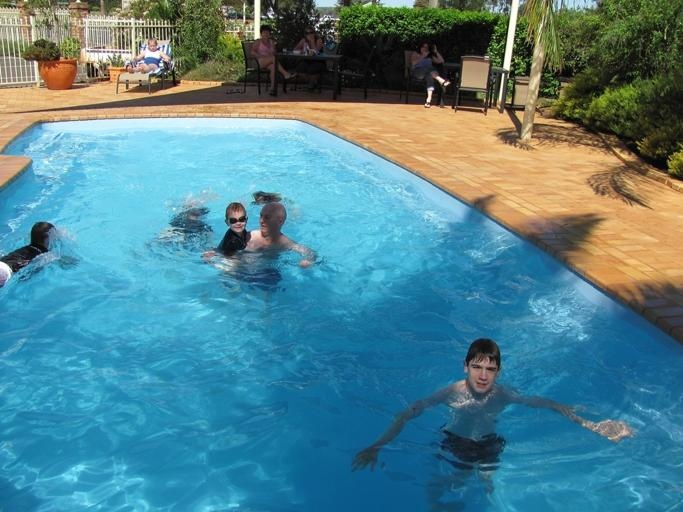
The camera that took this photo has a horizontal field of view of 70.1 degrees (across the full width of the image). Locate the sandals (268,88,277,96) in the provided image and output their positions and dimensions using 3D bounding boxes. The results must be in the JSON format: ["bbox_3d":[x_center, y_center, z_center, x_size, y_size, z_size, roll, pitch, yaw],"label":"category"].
[{"bbox_3d":[-2.041,-4.841,14.438,0.173,0.127,0.337,-4,21,-14],"label":"sandals"}]

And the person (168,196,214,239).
[{"bbox_3d":[-2.076,-0.526,6.884,0.586,0.173,0.758,10,30,18],"label":"person"}]

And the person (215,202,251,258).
[{"bbox_3d":[-1.252,-0.315,5.546,0.393,0.666,0.385,-3,25,-12],"label":"person"}]

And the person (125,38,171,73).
[{"bbox_3d":[-5.955,-5.949,14.766,1.118,0.669,1.558,17,45,2],"label":"person"}]

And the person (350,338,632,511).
[{"bbox_3d":[1.021,1.088,3.383,1.823,1.107,0.663,-4,25,-15],"label":"person"}]

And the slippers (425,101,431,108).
[{"bbox_3d":[2.545,-4.432,14.312,0.147,0.108,0.328,3,17,12],"label":"slippers"}]

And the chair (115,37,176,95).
[{"bbox_3d":[-5.925,-5.803,14.776,1.368,1.040,1.702,12,44,8],"label":"chair"}]

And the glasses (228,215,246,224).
[{"bbox_3d":[-1.153,-0.399,5.353,0.192,0.093,0.075,-2,24,-10],"label":"glasses"}]
